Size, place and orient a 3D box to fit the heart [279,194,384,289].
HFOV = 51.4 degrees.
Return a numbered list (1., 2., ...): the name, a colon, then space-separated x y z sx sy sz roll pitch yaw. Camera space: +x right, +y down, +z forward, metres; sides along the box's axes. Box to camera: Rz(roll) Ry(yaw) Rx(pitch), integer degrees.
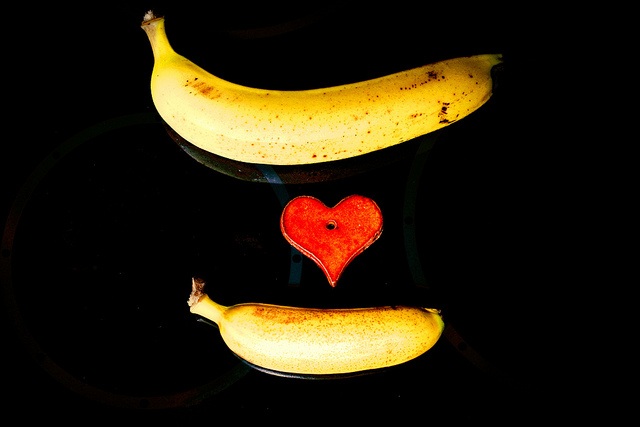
1. heart: 0.044 0.040 2.438 0.331 0.073 0.325 45 85 7
